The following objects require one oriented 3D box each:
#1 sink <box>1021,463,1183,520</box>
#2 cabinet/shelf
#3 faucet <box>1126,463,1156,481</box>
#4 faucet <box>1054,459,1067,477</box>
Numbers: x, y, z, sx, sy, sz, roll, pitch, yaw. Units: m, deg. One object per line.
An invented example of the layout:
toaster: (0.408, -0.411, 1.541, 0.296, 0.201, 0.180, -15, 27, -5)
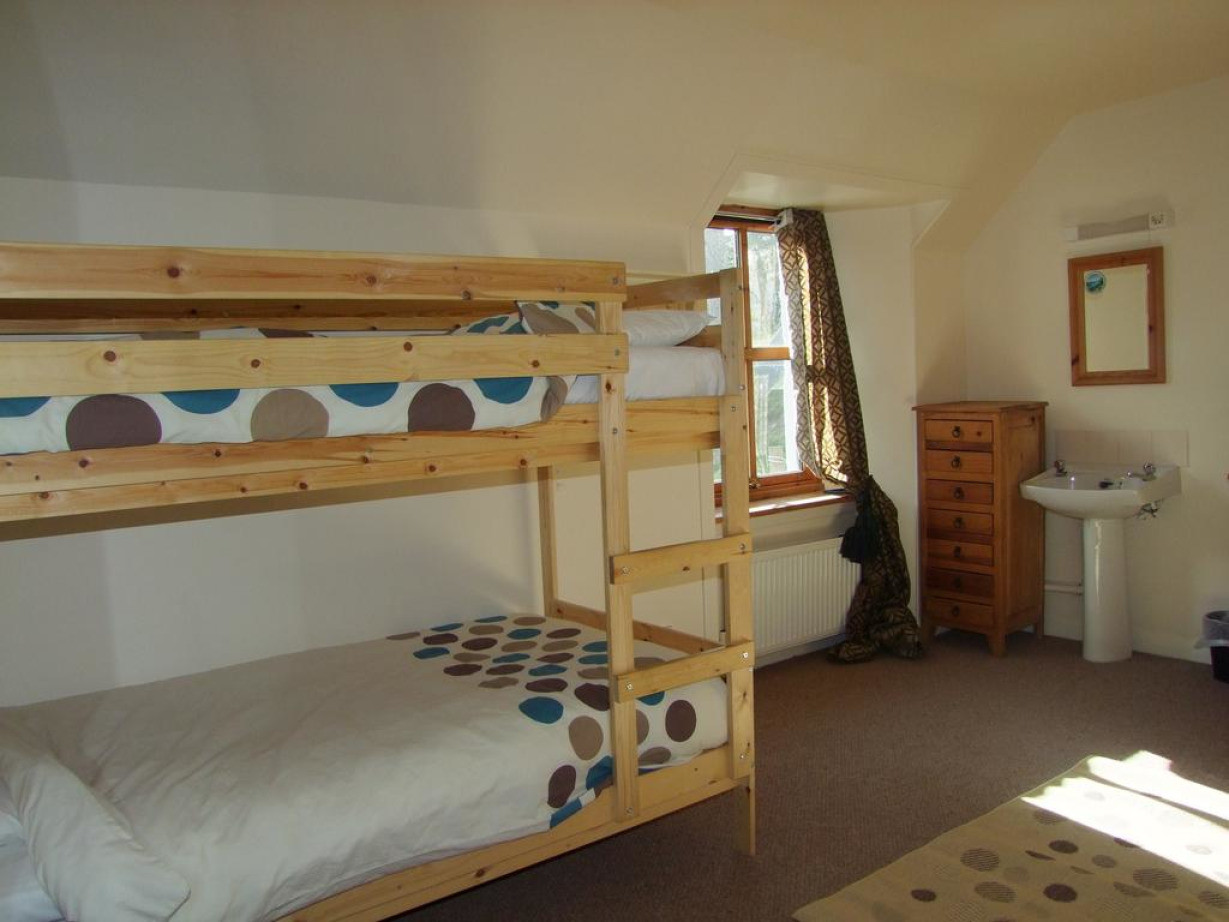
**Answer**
sink: (2.562, 0.168, 4.642, 0.717, 0.271, 0.473, 2, 11, 33)
cabinet/shelf: (2.068, 0.349, 4.919, 0.699, 1.350, 0.556, -1, 9, 15)
faucet: (2.760, 0.063, 4.614, 0.104, 0.041, 0.115, -10, 20, 37)
faucet: (2.495, 0.035, 4.955, 0.094, 0.090, 0.089, -6, 8, -34)
